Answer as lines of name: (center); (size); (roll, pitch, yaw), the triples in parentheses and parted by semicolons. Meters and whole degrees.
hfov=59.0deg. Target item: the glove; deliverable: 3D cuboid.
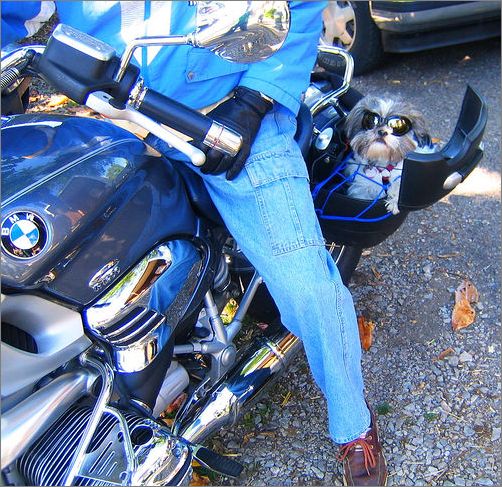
glove: (-0.056, -0.286, 1.224); (0.141, 0.186, 0.308); (5, 50, 32)
